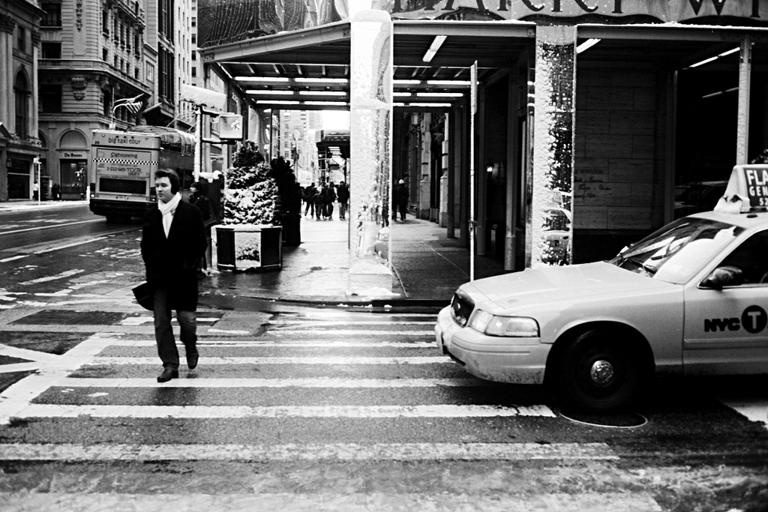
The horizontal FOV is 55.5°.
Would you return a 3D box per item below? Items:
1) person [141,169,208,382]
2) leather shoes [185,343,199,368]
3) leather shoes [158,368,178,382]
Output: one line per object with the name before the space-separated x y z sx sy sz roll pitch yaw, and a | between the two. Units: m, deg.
person | -2.605 0.220 9.067 0.767 2.546 0.607 -3 9 -22
leather shoes | -2.474 1.275 9.310 0.115 0.316 0.217 -12 -1 -5
leather shoes | -2.690 1.440 9.030 0.241 0.148 0.364 -1 9 -12
